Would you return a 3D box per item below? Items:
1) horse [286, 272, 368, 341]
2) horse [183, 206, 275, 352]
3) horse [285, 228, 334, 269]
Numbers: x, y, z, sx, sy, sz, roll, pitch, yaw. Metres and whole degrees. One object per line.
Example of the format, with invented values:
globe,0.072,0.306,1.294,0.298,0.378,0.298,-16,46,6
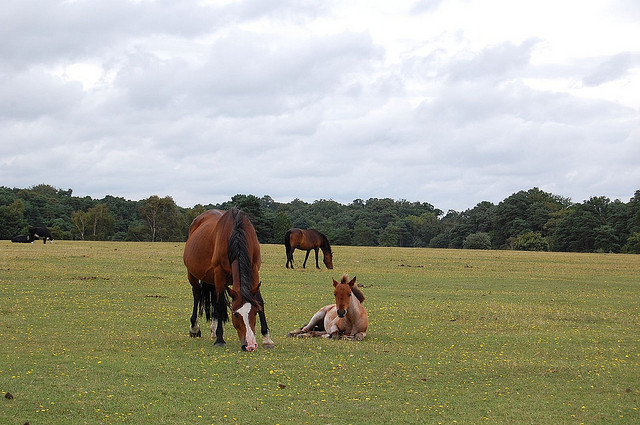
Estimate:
horse,0.463,2.996,18.525,1.861,2.136,1.347,3,2,38
horse,-2.956,1.978,18.037,1.870,4.244,3.990,0,2,-25
horse,-0.876,2.894,43.674,1.347,3.117,5.278,-8,-13,42
